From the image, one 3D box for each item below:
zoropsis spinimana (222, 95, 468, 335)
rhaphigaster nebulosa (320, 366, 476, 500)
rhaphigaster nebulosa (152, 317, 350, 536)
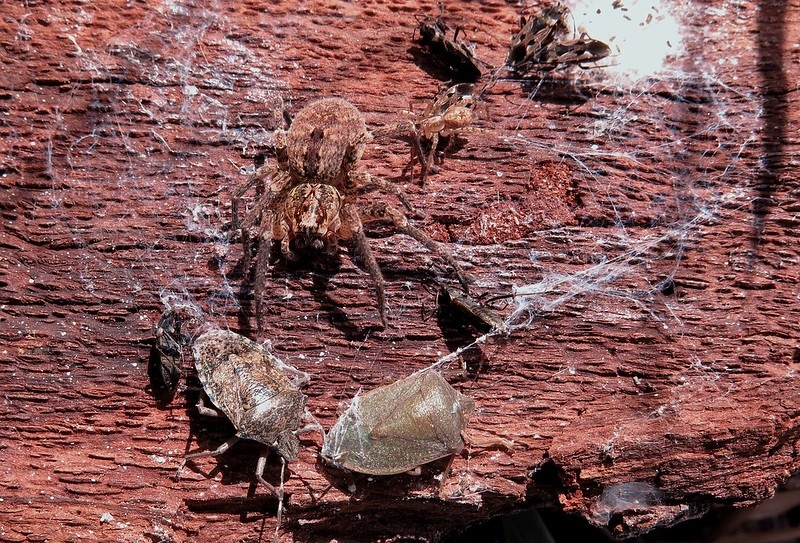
[{"bbox_3d":[-0.625,-0.578,10.512,1.975,2.447,0.582,2,-10,-8],"label":"zoropsis spinimana"},{"bbox_3d":[-0.017,1.409,10.165,1.357,0.969,0.273,0,-10,5],"label":"rhaphigaster nebulosa"},{"bbox_3d":[-1.454,1.182,10.170,1.617,2.068,0.642,-34,-9,-20],"label":"rhaphigaster nebulosa"}]
